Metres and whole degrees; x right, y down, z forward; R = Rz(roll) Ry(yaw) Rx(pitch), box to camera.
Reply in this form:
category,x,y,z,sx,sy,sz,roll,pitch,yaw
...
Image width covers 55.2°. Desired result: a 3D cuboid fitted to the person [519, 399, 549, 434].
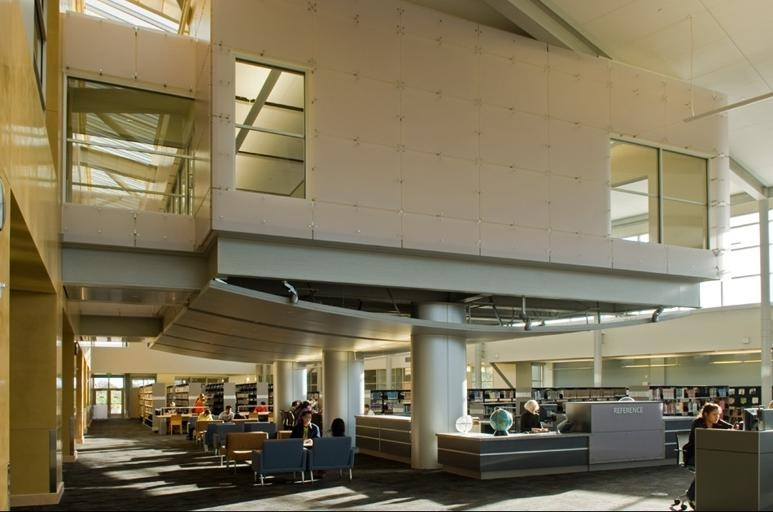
category,x,y,z,sx,sy,sz,roll,pitch,yaw
person,3.585,3.999,18.192,0.580,0.785,0.599,6,-10,-24

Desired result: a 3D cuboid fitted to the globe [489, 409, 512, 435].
category,x,y,z,sx,sy,sz,roll,pitch,yaw
globe,2.847,3.961,17.604,0.593,0.642,0.567,2,3,-10
